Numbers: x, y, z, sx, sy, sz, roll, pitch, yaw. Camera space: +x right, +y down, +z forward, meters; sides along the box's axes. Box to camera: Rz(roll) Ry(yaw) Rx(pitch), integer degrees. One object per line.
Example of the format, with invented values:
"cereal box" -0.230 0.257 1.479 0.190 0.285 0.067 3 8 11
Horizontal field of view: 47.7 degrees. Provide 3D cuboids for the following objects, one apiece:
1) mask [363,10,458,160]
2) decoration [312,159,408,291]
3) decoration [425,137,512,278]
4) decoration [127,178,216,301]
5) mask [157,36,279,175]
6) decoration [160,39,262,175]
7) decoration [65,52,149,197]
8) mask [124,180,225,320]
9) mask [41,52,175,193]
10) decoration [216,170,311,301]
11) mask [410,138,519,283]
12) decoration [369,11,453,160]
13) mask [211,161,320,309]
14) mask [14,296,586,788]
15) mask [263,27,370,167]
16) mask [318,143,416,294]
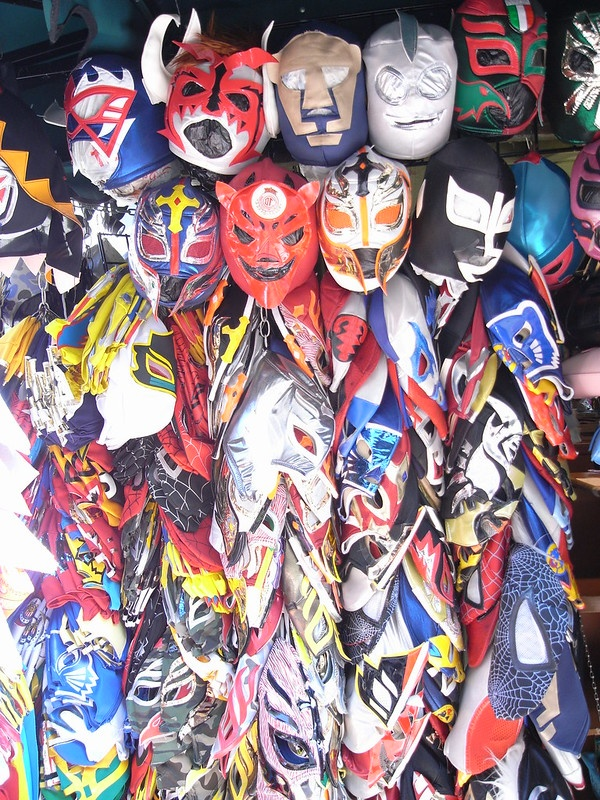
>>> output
"mask" 0.156 -0.452 0.973 0.121 0.189 0.112 -6 36 1
"decoration" 0.091 -0.262 0.980 0.135 0.112 0.178 13 74 8
"decoration" 0.217 -0.298 1.020 0.114 0.183 0.179 -6 43 -5
"decoration" -0.184 -0.222 0.992 0.120 0.065 0.196 1 102 0
"mask" -0.130 -0.430 1.026 0.145 0.201 0.202 9 91 -17
"decoration" -0.127 -0.425 1.019 0.139 0.194 0.192 10 95 -1
"decoration" -0.309 -0.403 0.992 0.130 0.077 0.203 -17 70 31
"mask" -0.184 -0.224 1.043 0.129 0.071 0.209 1 101 -1
"mask" -0.278 -0.420 1.037 0.132 0.195 0.215 -6 92 28
"decoration" -0.047 -0.252 0.985 0.149 0.096 0.251 0 62 -2
"mask" 0.245 -0.279 1.013 0.129 0.214 0.141 2 28 -13
"decoration" 0.152 -0.445 0.972 0.125 0.127 0.149 1 72 5
"mask" -0.045 -0.246 0.997 0.147 0.146 0.271 -4 49 -3
"mask" 0.024 0.098 1.464 0.810 0.325 0.930 3 107 3
"mask" 0.024 -0.430 0.968 0.128 0.187 0.131 -3 23 14
"mask" 0.091 -0.264 0.977 0.134 0.079 0.218 11 85 10
